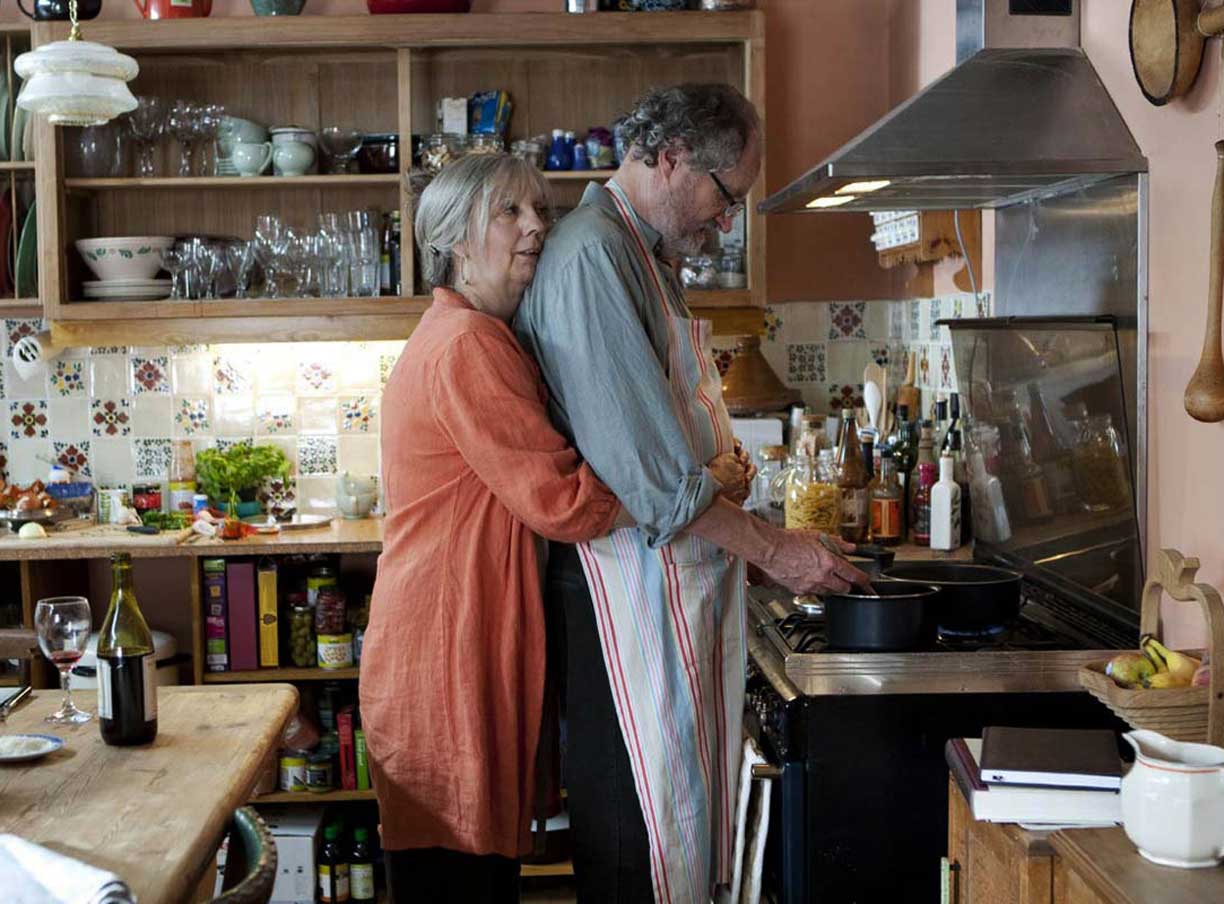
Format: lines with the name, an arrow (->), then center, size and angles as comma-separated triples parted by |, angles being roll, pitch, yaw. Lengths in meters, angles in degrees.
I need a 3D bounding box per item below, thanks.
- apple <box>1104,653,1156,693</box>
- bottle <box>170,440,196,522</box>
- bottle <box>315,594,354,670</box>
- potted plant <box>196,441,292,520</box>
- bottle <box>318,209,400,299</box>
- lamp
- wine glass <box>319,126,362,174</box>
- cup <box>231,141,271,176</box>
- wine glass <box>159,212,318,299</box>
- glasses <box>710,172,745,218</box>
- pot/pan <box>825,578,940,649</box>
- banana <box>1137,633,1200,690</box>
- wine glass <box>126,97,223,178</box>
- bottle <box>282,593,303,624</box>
apple -> 0.900, 0.388, 2.122 | 0.053, 0.041, 0.066 | -3, 10, -1
bottle -> -1.494, 0.094, 4.183 | 0.102, 0.252, 0.352 | -6, 6, -21
bottle -> -0.891, 0.570, 3.888 | 0.119, 0.246, 0.129 | -3, -2, 0
potted plant -> -1.310, 0.123, 4.208 | 0.234, 0.219, 0.291 | -9, -10, 32
bottle -> -0.815, -0.630, 4.070 | 0.267, 0.345, 0.280 | -2, -2, 0
lamp -> -1.321, -0.917, 2.969 | 0.275, 0.177, 0.142 | -7, 6, -22
wine glass -> -0.915, -0.997, 4.095 | 0.141, 0.150, 0.155 | -2, -7, 10
cup -> -1.199, -0.974, 3.993 | 0.117, 0.099, 0.105 | 1, 5, 5
wine glass -> -1.211, -0.619, 3.983 | 0.371, 0.174, 0.292 | -1, 0, -5
glasses -> 0.238, -0.533, 2.492 | 0.019, 0.072, 0.064 | -25, -17, 17
pot/pan -> 0.592, 0.351, 2.615 | 0.247, 0.120, 0.238 | -14, -18, 37
banana -> 0.970, 0.371, 2.088 | 0.056, 0.030, 0.106 | -26, 30, 16
wine glass -> -1.474, -1.064, 4.080 | 0.255, 0.265, 0.320 | 0, 0, -1
bottle -> -1.025, 0.504, 3.875 | 0.074, 0.086, 0.076 | 0, 2, -30
